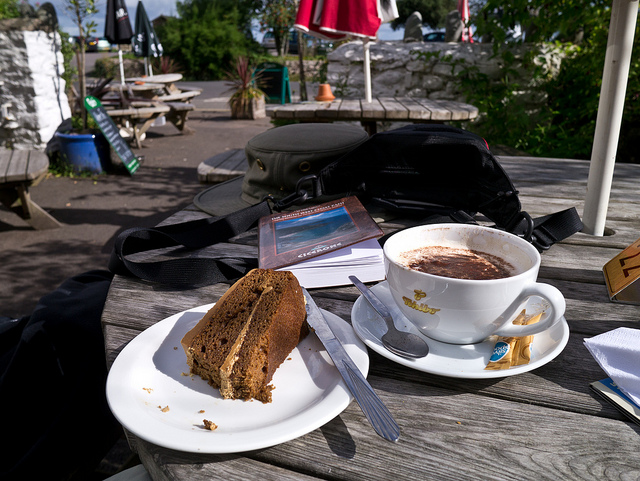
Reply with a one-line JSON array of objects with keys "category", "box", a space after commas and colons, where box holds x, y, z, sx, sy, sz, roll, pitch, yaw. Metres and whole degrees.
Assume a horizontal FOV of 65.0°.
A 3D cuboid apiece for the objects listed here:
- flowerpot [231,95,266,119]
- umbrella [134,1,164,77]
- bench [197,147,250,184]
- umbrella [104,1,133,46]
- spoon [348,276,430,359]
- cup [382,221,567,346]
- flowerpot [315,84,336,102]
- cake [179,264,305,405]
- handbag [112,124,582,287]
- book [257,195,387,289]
[{"category": "flowerpot", "box": [-1.595, -3.274, 12.316, 0.254, 0.518, 0.657, 13, 29, 36]}, {"category": "umbrella", "box": [-4.652, -5.394, 13.448, 0.714, 1.880, 3.093, -11, 23, -13]}, {"category": "bench", "box": [-0.619, -0.549, 3.541, 0.396, 0.068, 0.637, 7, 27, 14]}, {"category": "umbrella", "box": [-4.591, -4.927, 11.333, 0.612, 0.925, 0.669, -13, 24, -18]}, {"category": "spoon", "box": [0.113, 0.134, 1.016, 0.060, 0.036, 0.283, -27, 69, -35]}, {"category": "cup", "box": [0.287, 0.073, 1.021, 0.262, 0.147, 0.323, -14, 26, -27]}, {"category": "flowerpot", "box": [0.040, -1.494, 5.041, 0.201, 0.133, 0.195, -18, 34, -27]}, {"category": "cake", "box": [-0.136, 0.186, 1.025, 0.180, 0.089, 0.263, 20, 47, 18]}, {"category": "handbag", "box": [0.088, -0.116, 1.776, 1.394, 0.506, 1.348, -1, 9, -21]}, {"category": "book", "box": [-0.003, 0.007, 1.321, 0.264, 0.063, 0.251, -10, 36, 1]}]
